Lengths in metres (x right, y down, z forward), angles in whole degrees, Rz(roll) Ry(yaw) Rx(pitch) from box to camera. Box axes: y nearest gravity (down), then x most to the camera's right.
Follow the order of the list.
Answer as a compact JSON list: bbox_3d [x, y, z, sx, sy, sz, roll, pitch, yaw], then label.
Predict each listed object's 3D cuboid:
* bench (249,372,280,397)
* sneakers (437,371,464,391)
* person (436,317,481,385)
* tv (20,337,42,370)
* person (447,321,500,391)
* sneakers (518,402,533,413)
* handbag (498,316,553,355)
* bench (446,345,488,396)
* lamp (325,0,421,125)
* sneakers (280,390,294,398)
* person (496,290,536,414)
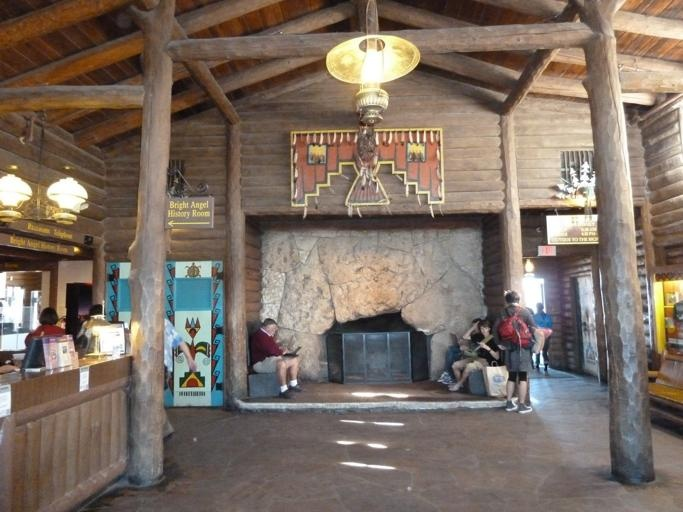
[{"bbox_3d":[-1.382,2.333,9.567,0.748,0.478,0.386,1,-3,-10],"label":"bench"},{"bbox_3d":[2.058,2.345,9.904,0.187,0.217,0.540,12,-5,-39],"label":"sneakers"},{"bbox_3d":[2.403,1.851,9.917,0.816,1.313,0.500,-3,12,-8],"label":"person"},{"bbox_3d":[-3.322,1.027,5.594,0.199,0.315,0.145,0,3,15],"label":"tv"},{"bbox_3d":[2.453,1.784,9.703,1.008,1.258,0.757,0,15,-44],"label":"person"},{"bbox_3d":[3.067,2.480,8.664,0.122,0.121,0.327,-1,-2,36],"label":"sneakers"},{"bbox_3d":[2.922,1.249,8.519,0.658,0.656,0.255,-2,3,-7],"label":"handbag"},{"bbox_3d":[2.304,2.157,9.636,0.868,0.854,0.623,3,-6,-3],"label":"bench"},{"bbox_3d":[0.371,-2.119,6.113,0.740,0.930,0.802,-4,4,-44],"label":"lamp"},{"bbox_3d":[-0.985,2.452,9.409,0.261,0.128,0.210,-1,3,3],"label":"sneakers"},{"bbox_3d":[3.008,1.570,8.763,0.783,1.883,0.785,2,-3,-14],"label":"person"}]
